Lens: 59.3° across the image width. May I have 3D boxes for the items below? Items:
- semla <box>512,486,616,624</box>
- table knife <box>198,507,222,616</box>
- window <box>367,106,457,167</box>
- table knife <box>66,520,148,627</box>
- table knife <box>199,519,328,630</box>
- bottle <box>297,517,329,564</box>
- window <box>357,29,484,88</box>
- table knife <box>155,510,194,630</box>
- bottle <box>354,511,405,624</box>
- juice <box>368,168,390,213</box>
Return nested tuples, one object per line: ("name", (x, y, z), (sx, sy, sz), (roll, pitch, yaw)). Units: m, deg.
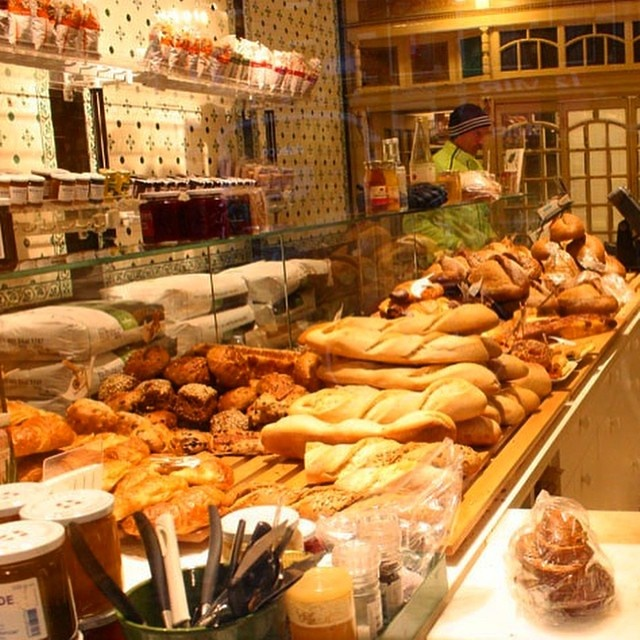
("semla", (0.302, 0.299, 0.720), (0.128, 0.101, 0.117), (-5, 9, 1))
("table knife", (-0.094, 0.205, 0.482), (0.015, 0.007, 0.072), (7, 52, -3))
("window", (0.530, -1.052, 3.296), (0.198, 0.253, 0.364), (-21, 29, -24))
("table knife", (-0.174, 0.205, 0.455), (0.034, 0.015, 0.144), (-33, 49, -5))
("table knife", (-0.045, 0.201, 0.461), (0.096, 0.049, 0.034), (-39, -10, -30))
("bottle", (-0.004, 0.237, 0.620), (0.040, 0.014, 0.052), (1, 26, -7))
("window", (0.517, -1.241, 2.694), (0.782, 0.252, 0.050), (-13, 23, -15))
("table knife", (-0.126, 0.219, 0.486), (0.024, 0.016, 0.117), (-15, 53, 1))
("bottle", (0.057, 0.292, 0.643), (0.041, 0.141, 0.046), (-3, 14, -36))
("juice", (0.191, -0.444, 1.874), (0.058, 0.161, 0.085), (0, 10, 29))
